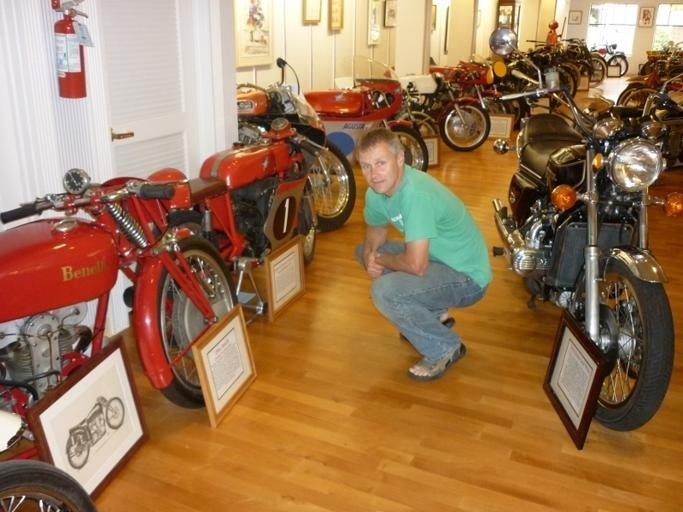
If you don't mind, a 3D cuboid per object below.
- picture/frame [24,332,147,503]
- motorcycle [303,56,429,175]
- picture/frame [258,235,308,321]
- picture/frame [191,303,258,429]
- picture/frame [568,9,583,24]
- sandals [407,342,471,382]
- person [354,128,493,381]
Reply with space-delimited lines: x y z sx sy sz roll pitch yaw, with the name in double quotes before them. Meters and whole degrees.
"picture/frame" -0.929 0.586 1.814 0.033 0.451 0.509 1 33 23
"motorcycle" 0.648 -1.512 5.396 1.927 1.199 0.870 -2 26 3
"picture/frame" -0.367 0.143 3.149 0.018 0.312 0.442 8 35 22
"picture/frame" -0.551 0.521 2.314 0.035 0.382 0.443 -2 26 20
"picture/frame" 9.511 -9.749 20.434 0.571 0.566 0.043 6 14 6
"sandals" 0.516 0.573 2.675 0.323 0.138 0.142 -28 45 -15
"person" 0.446 -0.035 2.612 0.681 1.234 0.529 -2 20 2
